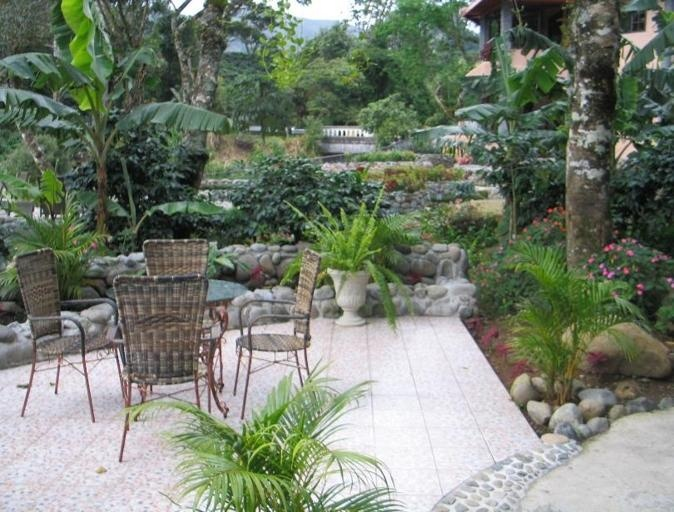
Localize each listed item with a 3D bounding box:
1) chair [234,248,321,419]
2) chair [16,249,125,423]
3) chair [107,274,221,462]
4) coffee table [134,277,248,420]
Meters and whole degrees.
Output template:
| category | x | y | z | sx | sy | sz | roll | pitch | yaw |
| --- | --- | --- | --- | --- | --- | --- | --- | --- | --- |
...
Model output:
| category | x | y | z | sx | sy | sz | roll | pitch | yaw |
| --- | --- | --- | --- | --- | --- | --- | --- | --- | --- |
| chair | -0.613 | 0.722 | 5.595 | 0.957 | 1.462 | 0.997 | 5 | 7 | 24 |
| chair | -2.463 | 0.695 | 5.371 | 0.773 | 1.433 | 0.747 | 2 | 7 | -7 |
| chair | -1.448 | 0.794 | 4.955 | 0.779 | 1.668 | 1.062 | 0 | 16 | -16 |
| coffee table | -1.406 | 0.837 | 5.656 | 0.919 | 0.794 | 0.924 | 4 | -13 | -34 |
